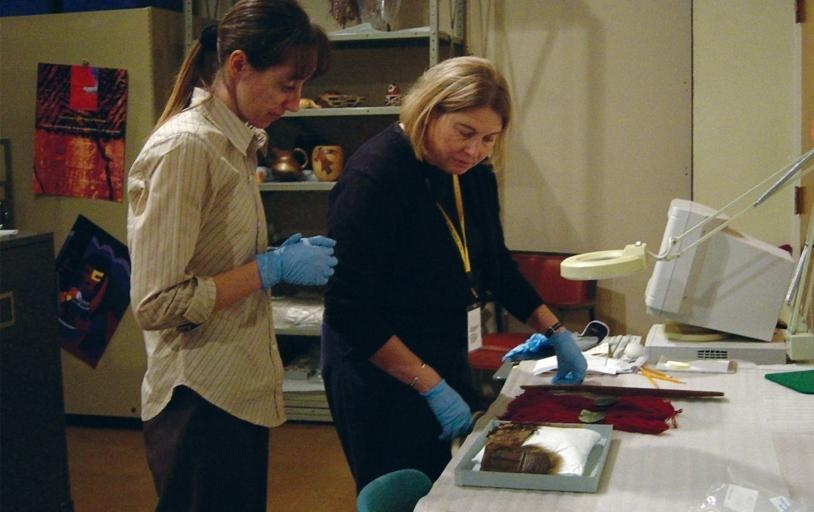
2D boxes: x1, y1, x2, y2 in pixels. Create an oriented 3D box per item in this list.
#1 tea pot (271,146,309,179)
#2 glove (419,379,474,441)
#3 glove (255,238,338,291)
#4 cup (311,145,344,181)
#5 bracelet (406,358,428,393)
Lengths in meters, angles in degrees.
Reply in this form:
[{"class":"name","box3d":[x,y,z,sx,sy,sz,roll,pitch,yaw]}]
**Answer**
[{"class":"tea pot","box3d":[-0.725,-0.557,4.246,0.262,0.185,0.207,-1,9,6]},{"class":"glove","box3d":[0.151,0.555,2.603,0.169,0.224,0.117,-38,0,-10]},{"class":"glove","box3d":[-0.412,0.037,2.530,0.347,0.179,0.229,-5,-11,-21]},{"class":"cup","box3d":[-0.480,-0.565,4.224,0.212,0.208,0.209,-1,12,0]},{"class":"bracelet","box3d":[0.030,0.434,2.511,0.039,0.097,0.074,7,33,2]}]
